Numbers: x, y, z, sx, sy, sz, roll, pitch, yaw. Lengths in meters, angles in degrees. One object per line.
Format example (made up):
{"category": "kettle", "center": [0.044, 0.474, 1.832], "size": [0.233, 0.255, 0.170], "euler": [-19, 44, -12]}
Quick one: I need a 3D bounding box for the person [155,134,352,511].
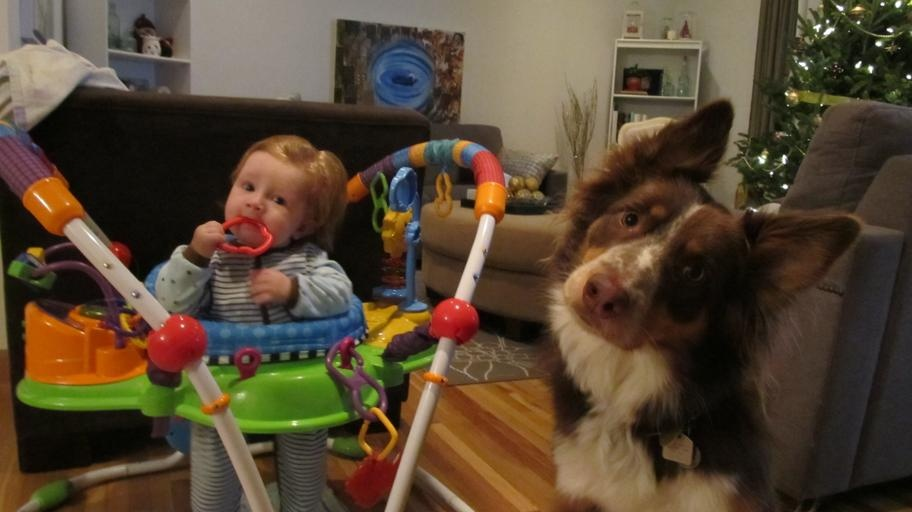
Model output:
{"category": "person", "center": [-0.634, 0.217, 2.284], "size": [0.636, 1.158, 0.502], "euler": [-6, 21, -23]}

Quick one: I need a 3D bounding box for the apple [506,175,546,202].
{"category": "apple", "center": [0.471, -0.445, 4.648], "size": [0.255, 0.096, 0.246], "euler": [6, 15, 7]}

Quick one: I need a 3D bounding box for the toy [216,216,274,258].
{"category": "toy", "center": [-0.686, -0.077, 2.270], "size": [0.168, 0.133, 0.229], "euler": [-3, 20, -16]}

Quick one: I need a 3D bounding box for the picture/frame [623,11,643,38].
{"category": "picture/frame", "center": [1.594, -2.053, 6.173], "size": [0.161, 0.229, 0.123], "euler": [5, 20, 6]}
